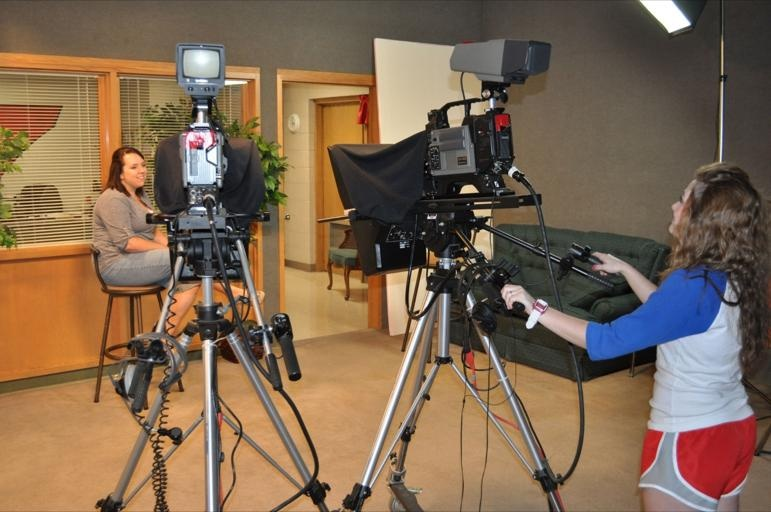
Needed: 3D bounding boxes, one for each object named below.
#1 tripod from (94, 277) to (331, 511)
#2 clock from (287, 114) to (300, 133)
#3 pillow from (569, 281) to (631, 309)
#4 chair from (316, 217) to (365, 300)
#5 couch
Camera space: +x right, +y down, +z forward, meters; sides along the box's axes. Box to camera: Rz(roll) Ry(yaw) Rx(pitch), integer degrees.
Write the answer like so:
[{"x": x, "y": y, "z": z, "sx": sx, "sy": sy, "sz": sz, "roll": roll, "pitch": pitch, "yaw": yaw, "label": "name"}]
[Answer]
[{"x": -0.907, "y": 0.752, "z": 3.158, "sx": 1.168, "sy": 1.352, "sz": 0.607, "roll": 3, "pitch": 12, "yaw": 13, "label": "tripod"}, {"x": -1.381, "y": -1.983, "z": 9.397, "sx": 0.272, "sy": 0.264, "sz": 0.080, "roll": 11, "pitch": 16, "yaw": 42, "label": "clock"}, {"x": 1.843, "y": 0.339, "z": 5.346, "sx": 0.211, "sy": 0.244, "sz": 0.289, "roll": -16, "pitch": -28, "yaw": 41, "label": "pillow"}, {"x": -0.500, "y": 0.006, "z": 7.938, "sx": 0.611, "sy": 0.707, "sz": 0.591, "roll": -5, "pitch": 2, "yaw": 11, "label": "chair"}, {"x": 1.600, "y": 0.386, "z": 6.219, "sx": 1.235, "sy": 1.280, "sz": 2.008, "roll": -6, "pitch": 11, "yaw": -36, "label": "couch"}]
